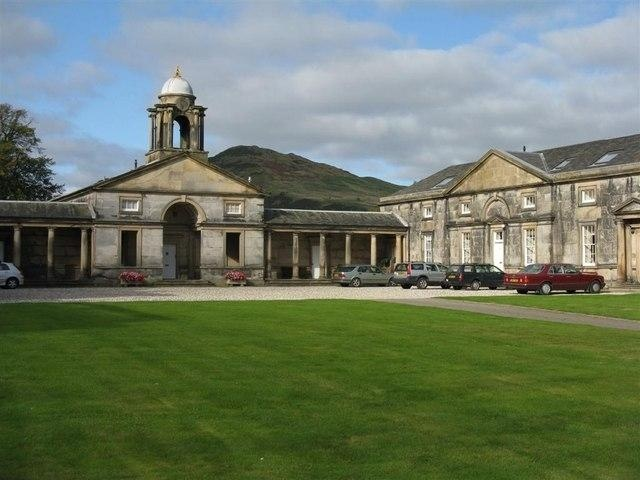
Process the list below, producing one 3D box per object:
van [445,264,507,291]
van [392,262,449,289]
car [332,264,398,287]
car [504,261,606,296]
[{"bbox_3d":[8.445,1.965,39.978,2.900,0.897,1.395,-2,2,-21],"label":"van"},{"bbox_3d":[5.689,1.950,41.699,2.874,0.938,1.423,-2,0,-27],"label":"van"},{"bbox_3d":[2.706,2.140,44.631,3.460,0.989,1.454,-1,1,-23],"label":"car"},{"bbox_3d":[11.095,1.843,35.144,4.145,1.094,1.801,-1,-1,-18],"label":"car"}]
